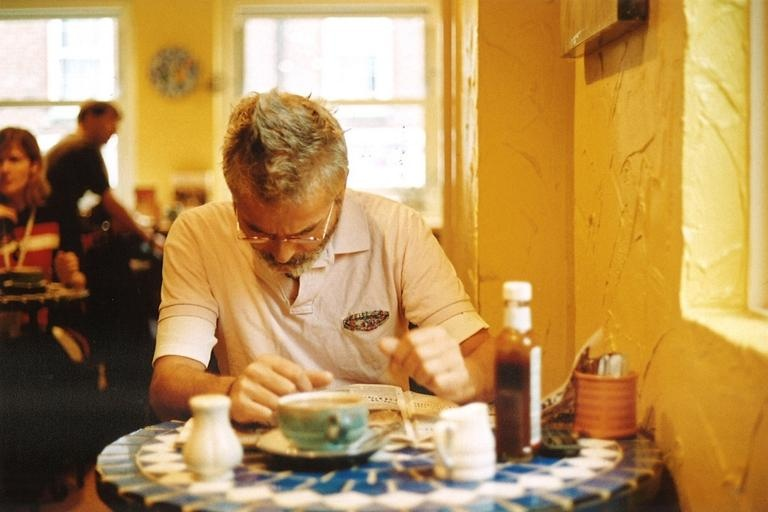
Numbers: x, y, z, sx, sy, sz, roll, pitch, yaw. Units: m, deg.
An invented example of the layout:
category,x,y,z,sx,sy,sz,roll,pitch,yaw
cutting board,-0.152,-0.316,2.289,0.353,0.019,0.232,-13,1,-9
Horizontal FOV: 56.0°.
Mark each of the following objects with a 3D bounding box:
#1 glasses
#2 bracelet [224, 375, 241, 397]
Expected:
category,x,y,z,sx,sy,sz,roll,pitch,yaw
glasses,-0.328,-0.108,2.463,0.333,0.140,0.193,-1,6,-11
bracelet,-0.460,0.398,2.224,0.052,0.048,0.049,-1,-20,1
